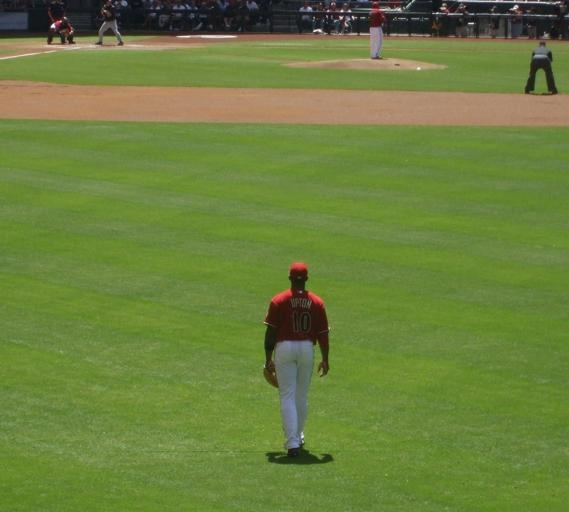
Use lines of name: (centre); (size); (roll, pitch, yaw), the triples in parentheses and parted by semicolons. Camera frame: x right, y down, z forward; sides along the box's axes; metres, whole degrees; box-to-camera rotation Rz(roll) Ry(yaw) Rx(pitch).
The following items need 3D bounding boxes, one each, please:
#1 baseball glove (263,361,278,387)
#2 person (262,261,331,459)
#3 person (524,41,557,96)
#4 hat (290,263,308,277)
baseball glove: (-0.198, 1.790, 27.598); (0.247, 0.345, 0.081); (5, -9, -37)
person: (0.205, 1.584, 27.490); (0.949, 2.894, 0.511); (-2, 12, -11)
person: (6.176, -4.521, 44.037); (0.672, 1.508, 0.815); (-1, -19, 15)
hat: (0.223, 0.189, 27.496); (0.255, 0.184, 0.359); (0, 13, -3)
